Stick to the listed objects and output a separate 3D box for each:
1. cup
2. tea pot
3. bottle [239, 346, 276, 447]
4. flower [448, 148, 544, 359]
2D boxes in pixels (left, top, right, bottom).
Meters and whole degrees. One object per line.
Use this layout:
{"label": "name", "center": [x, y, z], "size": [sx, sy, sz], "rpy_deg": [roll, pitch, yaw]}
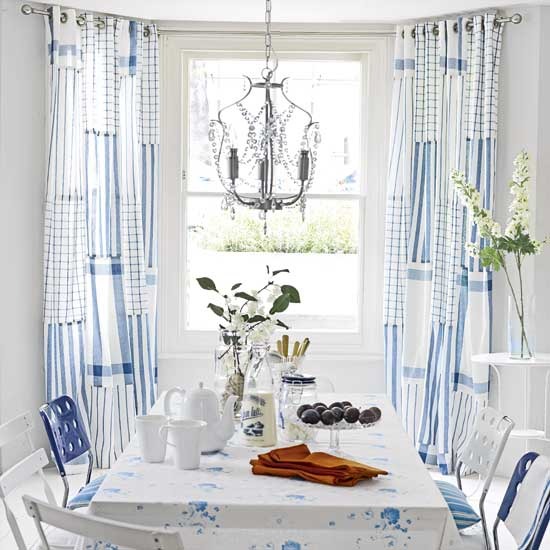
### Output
{"label": "cup", "center": [-0.303, 0.481, 1.739], "size": [0.183, 0.194, 0.130], "rpy_deg": [0, -1, 43]}
{"label": "tea pot", "center": [-0.229, 0.398, 1.915], "size": [0.254, 0.272, 0.179], "rpy_deg": [0, -1, 14]}
{"label": "bottle", "center": [-0.060, 0.409, 1.974], "size": [0.078, 0.335, 0.114], "rpy_deg": [2, 4, 2]}
{"label": "flower", "center": [1.216, -0.193, 3.223], "size": [0.265, 1.677, 0.396], "rpy_deg": [2, 5, -1]}
